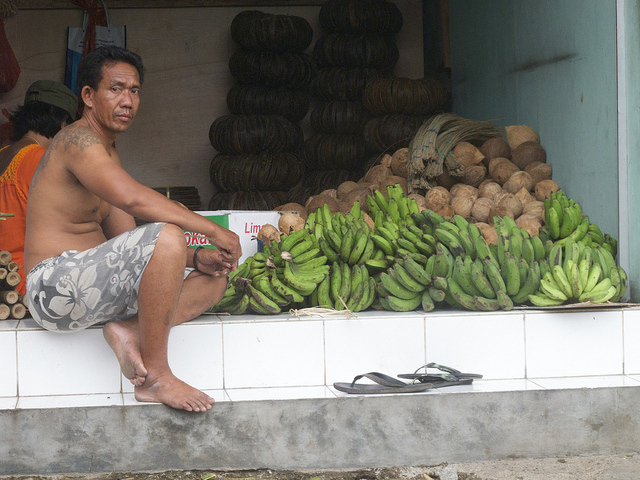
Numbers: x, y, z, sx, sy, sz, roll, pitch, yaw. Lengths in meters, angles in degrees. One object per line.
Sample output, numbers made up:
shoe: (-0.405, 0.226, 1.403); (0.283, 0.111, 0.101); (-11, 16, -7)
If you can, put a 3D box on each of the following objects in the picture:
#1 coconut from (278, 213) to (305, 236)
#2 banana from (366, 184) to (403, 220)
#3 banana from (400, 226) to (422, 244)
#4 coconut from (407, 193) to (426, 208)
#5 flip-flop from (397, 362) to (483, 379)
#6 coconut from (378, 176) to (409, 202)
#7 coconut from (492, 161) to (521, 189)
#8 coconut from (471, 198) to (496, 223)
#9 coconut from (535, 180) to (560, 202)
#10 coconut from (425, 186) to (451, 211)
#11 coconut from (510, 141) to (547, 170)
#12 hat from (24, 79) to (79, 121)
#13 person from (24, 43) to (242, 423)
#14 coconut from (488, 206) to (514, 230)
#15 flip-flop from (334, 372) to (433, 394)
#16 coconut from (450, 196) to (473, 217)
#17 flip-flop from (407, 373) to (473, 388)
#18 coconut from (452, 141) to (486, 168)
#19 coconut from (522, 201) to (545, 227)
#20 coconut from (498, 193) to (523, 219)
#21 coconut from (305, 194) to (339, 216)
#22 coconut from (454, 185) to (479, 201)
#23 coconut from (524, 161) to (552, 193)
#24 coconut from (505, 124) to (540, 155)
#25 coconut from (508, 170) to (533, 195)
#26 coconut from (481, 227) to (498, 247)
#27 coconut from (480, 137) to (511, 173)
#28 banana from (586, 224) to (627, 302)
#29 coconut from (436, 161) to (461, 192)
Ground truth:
coconut: (-0.213, -0.132, 5.453); (0.172, 0.145, 0.202); (-2, 6, -22)
banana: (0.450, -0.293, 5.289); (0.165, 0.151, 0.275); (-18, 19, 12)
banana: (0.552, -0.042, 4.759); (0.051, 0.071, 0.189); (-15, 36, -43)
coconut: (0.735, -0.315, 5.721); (0.132, 0.103, 0.223); (1, 5, 7)
flip-flop: (0.672, 0.737, 4.191); (0.446, 0.102, 0.172); (-3, -4, -1)
coconut: (0.576, -0.439, 5.943); (0.239, 0.160, 0.526); (0, 6, 4)
coconut: (1.408, -0.509, 5.703); (0.147, 0.122, 0.199); (-14, -10, 16)
coconut: (1.178, -0.239, 5.472); (0.097, 0.140, 0.164); (14, 25, -47)
coconut: (1.657, -0.373, 5.466); (0.164, 0.153, 0.205); (1, 5, 13)
coconut: (0.881, -0.323, 5.587); (0.196, 0.165, 0.226); (-1, 5, -10)
coconut: (1.599, -0.667, 5.742); (0.229, 0.148, 0.195); (-1, 8, 6)
hat: (-1.722, -0.952, 4.798); (0.268, 0.154, 0.288); (7, 11, -23)
person: (-1.027, -0.078, 4.182); (1.132, 2.005, 1.110); (-4, 6, -35)
coconut: (1.263, -0.159, 5.297); (0.154, 0.122, 0.196); (-2, -4, -27)
flip-flop: (0.319, 0.803, 4.104); (0.478, 0.107, 0.191); (3, -10, -2)
coconut: (1.048, -0.260, 5.579); (0.145, 0.143, 0.098); (-11, -6, -15)
flip-flop: (0.657, 0.773, 4.126); (0.318, 0.062, 0.110); (-4, 0, -12)
coconut: (1.134, -0.689, 5.870); (0.281, 0.212, 0.189); (-4, 6, -36)
coconut: (1.513, -0.219, 5.288); (0.094, 0.179, 0.146); (-19, 39, 13)
coconut: (1.374, -0.267, 5.356); (0.131, 0.186, 0.109); (3, -15, -5)
coconut: (0.007, -0.285, 5.782); (0.264, 0.149, 0.447); (0, 5, -1)
coconut: (1.103, -0.379, 5.618); (0.134, 0.083, 0.122); (7, 32, 21)
coconut: (1.628, -0.529, 5.606); (0.181, 0.136, 0.225); (25, 63, 30)
coconut: (1.622, -0.829, 5.991); (0.229, 0.199, 0.151); (6, 43, 5)
coconut: (1.474, -0.438, 5.568); (0.157, 0.211, 0.169); (1, 1, 9)
coconut: (1.160, -0.038, 5.131); (0.096, 0.111, 0.260); (1, 6, 12)
coconut: (1.388, -0.707, 5.919); (0.212, 0.283, 0.151); (4, -15, -10)
banana: (1.796, 0.155, 4.695); (0.169, 0.456, 0.143); (-8, -27, -17)
coconut: (0.984, -0.509, 5.837); (0.181, 0.239, 0.194); (-1, 18, 7)
